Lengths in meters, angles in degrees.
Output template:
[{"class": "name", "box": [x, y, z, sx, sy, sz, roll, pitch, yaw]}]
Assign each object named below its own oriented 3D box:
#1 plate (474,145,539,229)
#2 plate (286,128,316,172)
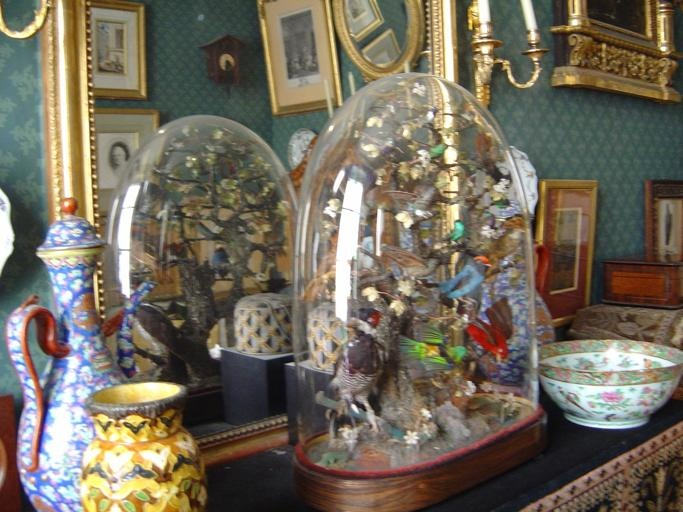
[{"class": "plate", "box": [0.467, -0.179, 1.670, 0.057, 0.195, 0.211, 6, 6, 33]}, {"class": "plate", "box": [-0.086, -0.199, 1.204, 0.018, 0.069, 0.079, 16, -5, 29]}]
